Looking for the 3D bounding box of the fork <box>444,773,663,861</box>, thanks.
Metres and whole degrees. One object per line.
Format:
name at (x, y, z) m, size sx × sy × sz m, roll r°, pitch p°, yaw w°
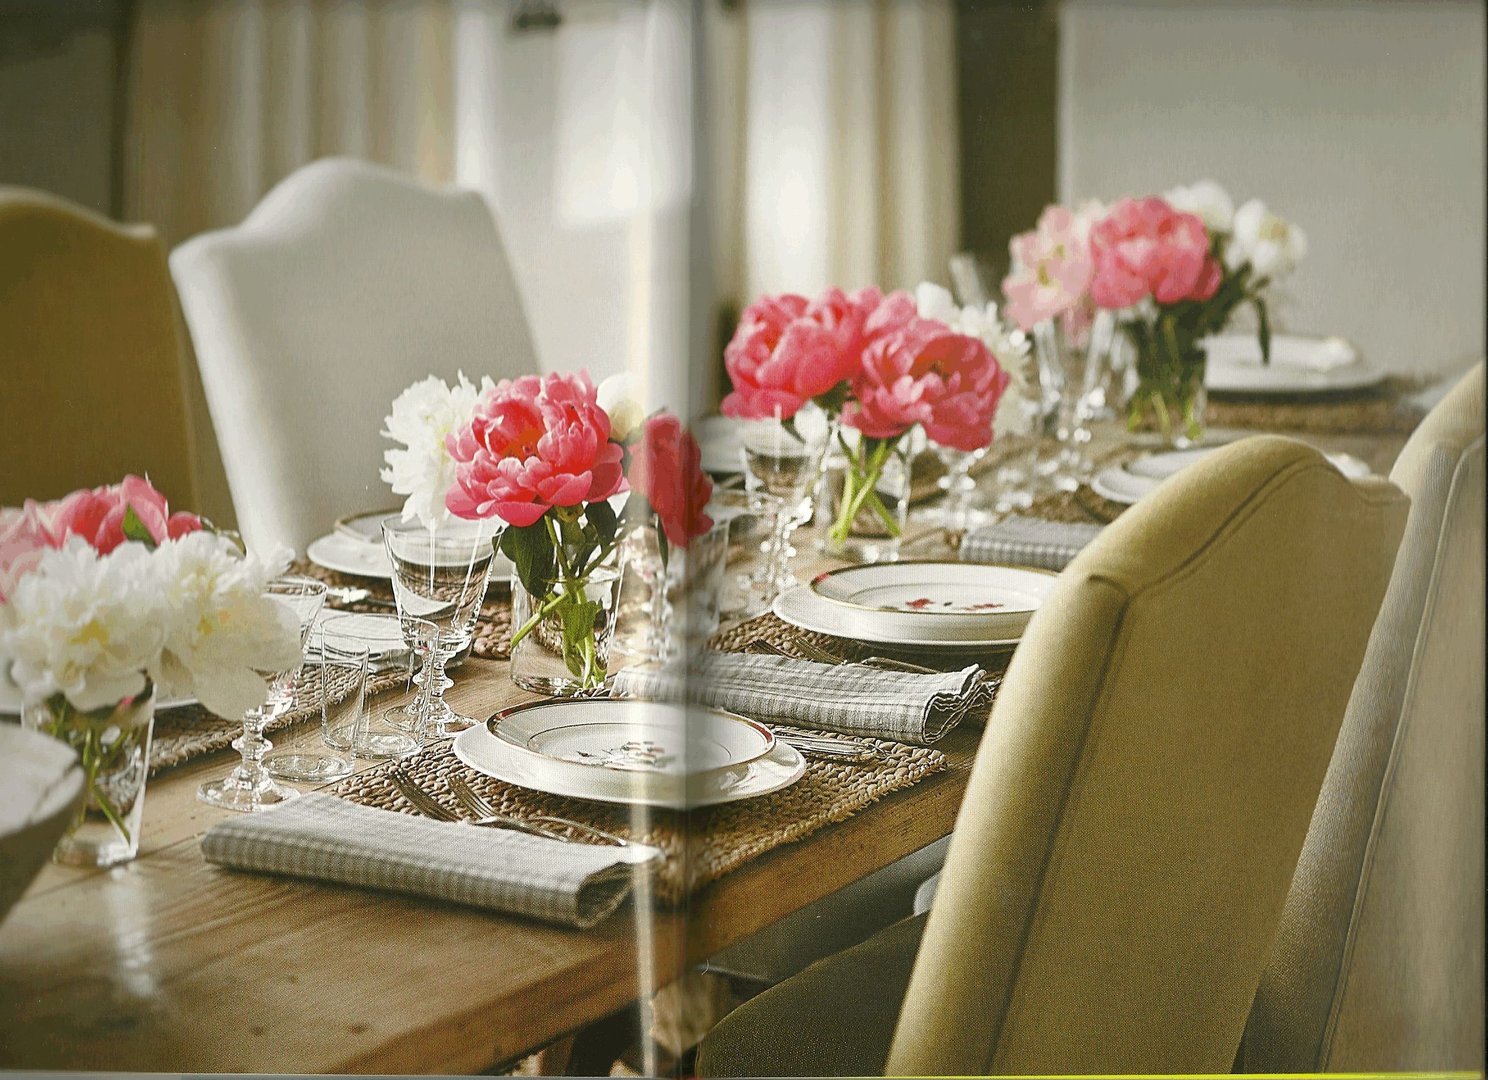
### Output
fork at (-0.088, 0.134, 0.575) m, size 0.105 × 0.017 × 0.015 m, roll 9°, pitch 7°, yaw 38°
